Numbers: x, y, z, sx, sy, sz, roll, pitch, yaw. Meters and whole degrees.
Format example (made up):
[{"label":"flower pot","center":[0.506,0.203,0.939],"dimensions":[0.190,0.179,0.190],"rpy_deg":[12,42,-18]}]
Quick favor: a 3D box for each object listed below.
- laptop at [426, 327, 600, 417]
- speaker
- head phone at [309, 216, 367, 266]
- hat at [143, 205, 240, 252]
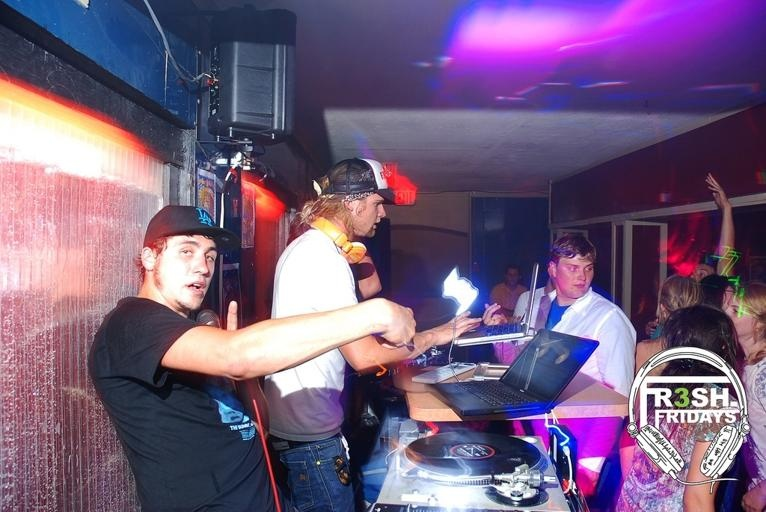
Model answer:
[{"label":"laptop","center":[0.678,0.611,2.817],"dimensions":[0.507,0.254,0.509],"rpy_deg":[8,-3,-14]},{"label":"speaker","center":[-0.768,-1.078,3.276],"dimensions":[0.488,0.691,0.244],"rpy_deg":[3,-3,-9]},{"label":"head phone","center":[-0.253,-0.091,3.010],"dimensions":[0.257,0.111,0.268],"rpy_deg":[39,0,7]},{"label":"hat","center":[-0.884,-0.135,2.552],"dimensions":[0.309,0.157,0.230],"rpy_deg":[-15,-4,4]}]
